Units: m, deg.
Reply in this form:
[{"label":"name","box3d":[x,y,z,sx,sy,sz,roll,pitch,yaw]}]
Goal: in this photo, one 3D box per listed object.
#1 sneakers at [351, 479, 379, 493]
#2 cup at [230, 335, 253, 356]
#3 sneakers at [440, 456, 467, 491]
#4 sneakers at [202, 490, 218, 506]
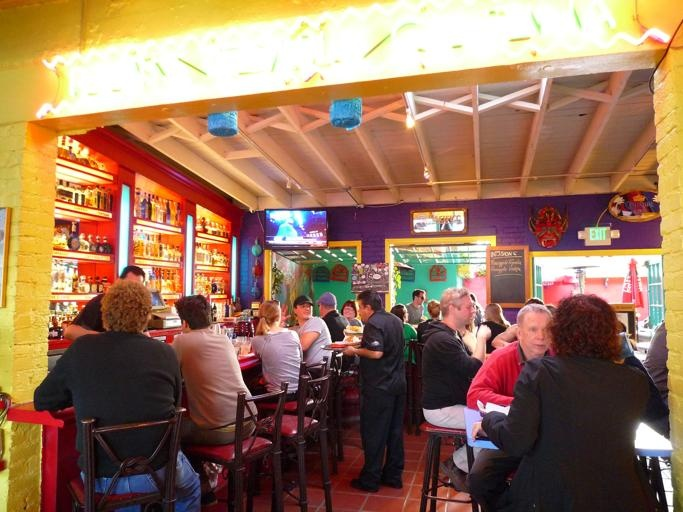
[{"label":"sneakers","box3d":[0.215,2.079,4.654,0.254,0.097,0.101,2,-4,38]},{"label":"cup","box3d":[-1.014,0.891,5.101,0.189,0.244,0.256,-1,-9,5]},{"label":"sneakers","box3d":[0.804,1.524,3.596,0.071,0.194,0.167,-13,-21,-11]},{"label":"sneakers","box3d":[-1.093,2.023,4.284,0.170,0.124,0.100,0,-41,-8]}]
